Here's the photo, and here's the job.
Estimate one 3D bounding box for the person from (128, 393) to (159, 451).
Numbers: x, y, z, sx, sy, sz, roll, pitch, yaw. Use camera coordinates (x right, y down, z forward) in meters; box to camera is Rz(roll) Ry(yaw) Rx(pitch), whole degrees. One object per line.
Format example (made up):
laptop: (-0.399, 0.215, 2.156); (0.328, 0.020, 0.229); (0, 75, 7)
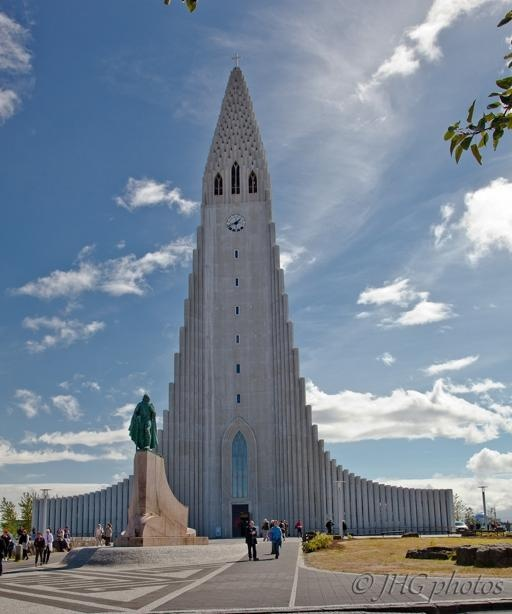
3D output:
person: (-4.266, 4.384, 23.473); (0.955, 2.154, 1.594); (0, -15, -12)
